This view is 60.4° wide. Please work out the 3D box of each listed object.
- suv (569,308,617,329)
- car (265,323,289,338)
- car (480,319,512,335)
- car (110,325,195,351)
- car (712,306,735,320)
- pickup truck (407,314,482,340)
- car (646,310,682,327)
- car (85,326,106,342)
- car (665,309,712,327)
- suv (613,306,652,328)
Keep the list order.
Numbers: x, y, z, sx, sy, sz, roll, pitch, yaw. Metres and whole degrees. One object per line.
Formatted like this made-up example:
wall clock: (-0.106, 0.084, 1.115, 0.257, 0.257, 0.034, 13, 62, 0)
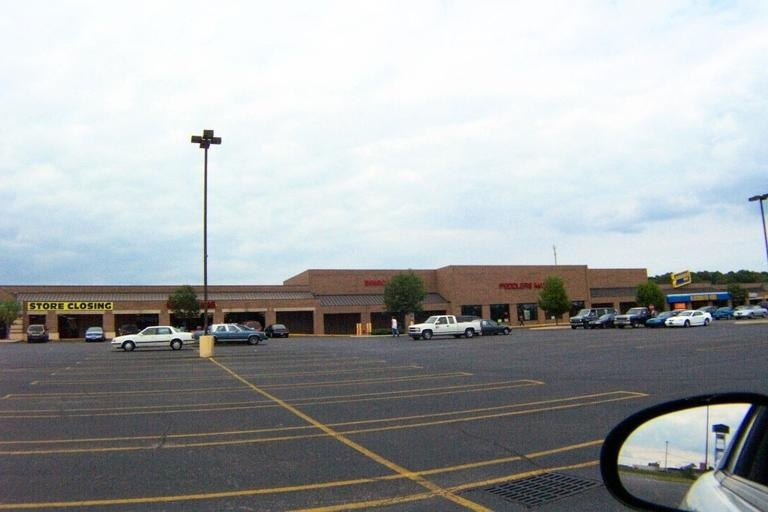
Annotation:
suv: (17.098, 4.949, 53.499, 3.079, 1.186, 1.901, 2, -9, -23)
car: (-9.460, 6.605, 58.445, 1.217, 1.050, 2.417, -1, -5, -26)
car: (8.585, 5.423, 50.849, 2.967, 1.142, 1.380, 2, -7, -43)
car: (-13.681, 4.958, 39.187, 4.489, 1.234, 1.796, 2, -5, -11)
car: (35.473, 5.898, 68.411, 2.704, 0.834, 1.162, -3, -1, -44)
pickup truck: (4.625, 5.060, 47.698, 2.571, 1.626, 6.246, -7, -7, 41)
car: (21.159, 4.678, 49.782, 3.052, 0.934, 1.326, 5, -10, -42)
car: (-25.139, 6.848, 57.741, 1.122, 0.795, 2.364, -1, -8, -16)
car: (22.421, 4.463, 48.511, 3.608, 0.969, 1.582, 5, -10, -31)
suv: (19.975, 4.848, 52.475, 2.739, 1.074, 1.601, 8, -14, -42)
